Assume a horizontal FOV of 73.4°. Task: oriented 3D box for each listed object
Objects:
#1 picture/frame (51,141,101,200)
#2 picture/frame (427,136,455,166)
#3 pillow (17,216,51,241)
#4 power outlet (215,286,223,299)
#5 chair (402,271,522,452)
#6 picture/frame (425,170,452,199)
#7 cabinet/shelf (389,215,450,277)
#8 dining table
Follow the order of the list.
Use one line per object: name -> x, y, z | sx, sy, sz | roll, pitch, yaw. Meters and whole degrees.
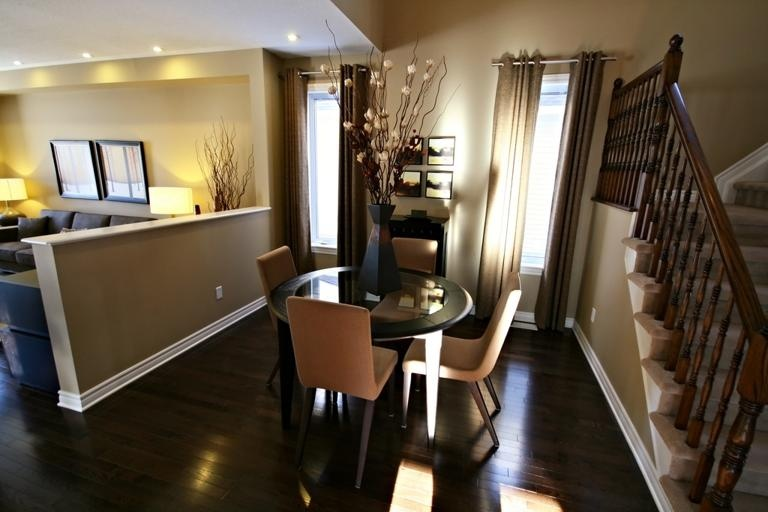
picture/frame -> -4.487, -1.278, 7.526 | 0.778, 0.816, 0.060 | 7, 22, 16
picture/frame -> 0.703, -1.281, 6.215 | 0.404, 0.402, 0.040 | 3, 12, 10
pillow -> -4.750, -0.366, 6.967 | 0.424, 0.435, 0.153 | -7, -8, -30
power outlet -> -1.890, 0.409, 5.867 | 0.017, 0.134, 0.132 | 3, 7, 20
chair -> 0.695, 0.887, 4.648 | 0.955, 1.497, 0.544 | 2, 14, 9
picture/frame -> 0.683, -0.879, 6.279 | 0.316, 0.327, 0.032 | 4, 13, 12
cabinet/shelf -> 0.374, -0.116, 5.652 | 0.572, 0.797, 0.388 | 5, 15, 16
dining table -> 0.085, 0.908, 5.026 | 1.484, 0.954, 1.515 | 5, 15, 12
